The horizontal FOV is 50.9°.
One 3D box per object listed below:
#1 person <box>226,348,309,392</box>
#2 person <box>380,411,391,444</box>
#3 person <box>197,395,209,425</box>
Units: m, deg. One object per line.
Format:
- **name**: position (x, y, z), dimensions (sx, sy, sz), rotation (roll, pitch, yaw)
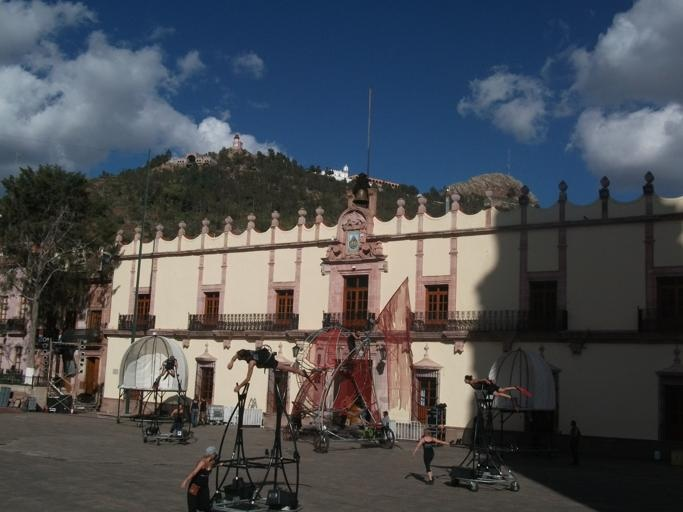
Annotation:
- **person**: position (-2.313, 3.187, 20.998), dimensions (2.112, 0.978, 1.314), rotation (-3, 27, -14)
- **person**: position (1.778, 7.506, 31.478), dimensions (0.320, 1.289, 0.503), rotation (5, -13, -15)
- **person**: position (-7.689, 8.486, 39.313), dimensions (0.759, 1.485, 0.779), rotation (-9, -16, 34)
